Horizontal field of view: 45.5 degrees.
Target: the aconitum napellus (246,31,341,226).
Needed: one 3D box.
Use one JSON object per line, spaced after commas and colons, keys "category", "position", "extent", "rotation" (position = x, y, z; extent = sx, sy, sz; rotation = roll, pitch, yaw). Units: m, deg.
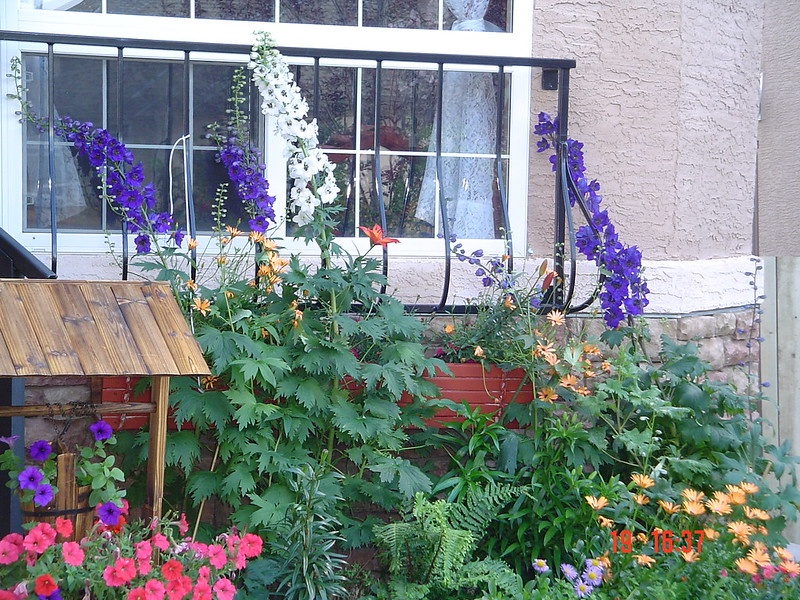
{"category": "aconitum napellus", "position": [-0.524, -0.841, 4.646], "extent": [0.394, 0.898, 0.634], "rotation": [-3, 11, -7]}
